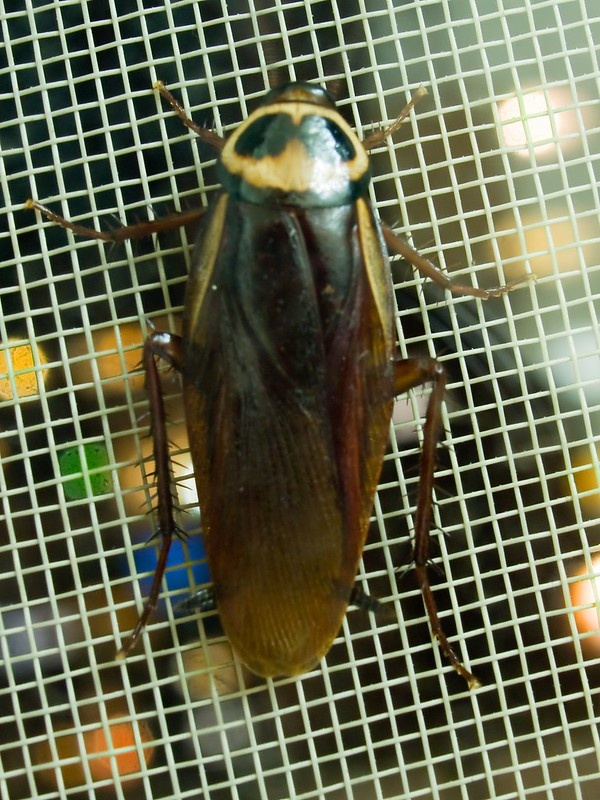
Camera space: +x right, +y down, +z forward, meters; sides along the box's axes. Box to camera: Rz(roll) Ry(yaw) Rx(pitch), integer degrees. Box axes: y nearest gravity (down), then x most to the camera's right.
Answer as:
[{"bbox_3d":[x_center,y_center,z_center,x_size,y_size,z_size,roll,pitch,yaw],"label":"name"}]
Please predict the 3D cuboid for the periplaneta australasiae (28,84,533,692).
[{"bbox_3d":[-0.026,-0.043,2.031,0.454,0.158,1.217,7,83,-1],"label":"periplaneta australasiae"}]
